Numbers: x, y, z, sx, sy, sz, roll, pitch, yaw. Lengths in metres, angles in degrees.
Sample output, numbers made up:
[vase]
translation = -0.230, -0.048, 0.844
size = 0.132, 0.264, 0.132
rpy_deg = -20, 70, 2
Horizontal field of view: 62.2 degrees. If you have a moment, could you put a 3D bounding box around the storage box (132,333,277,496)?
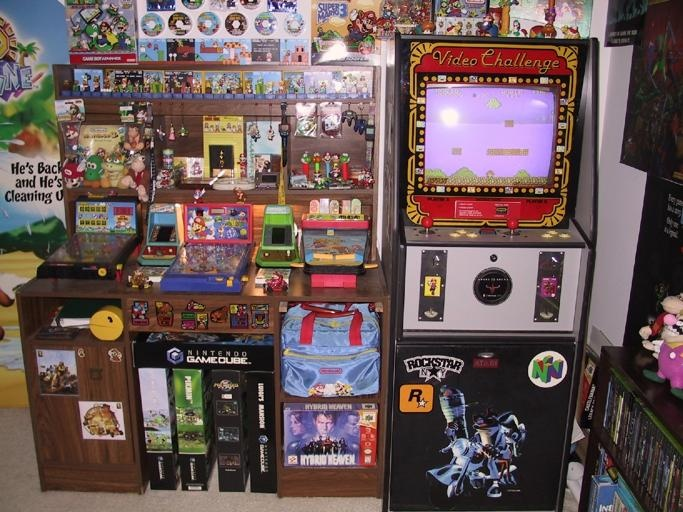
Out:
[storage box]
translation = -0.780, 0.942, 3.943
size = 0.835, 1.284, 0.994
rpy_deg = 0, 9, -3

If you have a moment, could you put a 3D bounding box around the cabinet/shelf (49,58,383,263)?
[cabinet/shelf]
translation = -0.785, -0.753, 3.743
size = 2.060, 1.105, 0.329
rpy_deg = -2, 12, 6
